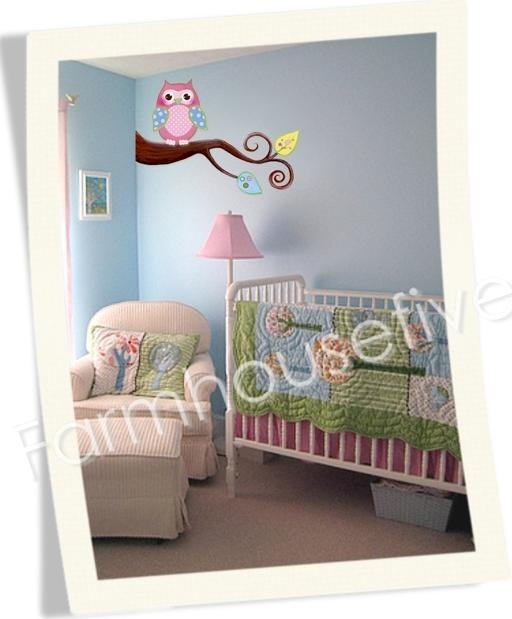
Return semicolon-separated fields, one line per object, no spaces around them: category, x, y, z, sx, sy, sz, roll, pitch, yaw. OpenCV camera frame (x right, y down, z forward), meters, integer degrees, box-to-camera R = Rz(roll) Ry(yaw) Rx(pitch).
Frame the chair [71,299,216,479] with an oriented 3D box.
chair;-0.518;0.393;3.217;0.850;0.957;0.835;0;-9;-2

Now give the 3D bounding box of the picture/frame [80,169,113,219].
picture/frame;-1.014;-0.733;3.644;0.032;0.320;0.304;15;18;36

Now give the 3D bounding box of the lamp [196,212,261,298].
lamp;-0.144;-0.269;3.238;0.361;0.503;0.356;3;8;24

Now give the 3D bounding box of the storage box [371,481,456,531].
storage box;0.621;0.774;2.325;0.249;0.109;0.159;0;-4;27

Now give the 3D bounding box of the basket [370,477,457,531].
basket;0.620;0.778;2.325;0.248;0.107;0.160;1;-4;27
